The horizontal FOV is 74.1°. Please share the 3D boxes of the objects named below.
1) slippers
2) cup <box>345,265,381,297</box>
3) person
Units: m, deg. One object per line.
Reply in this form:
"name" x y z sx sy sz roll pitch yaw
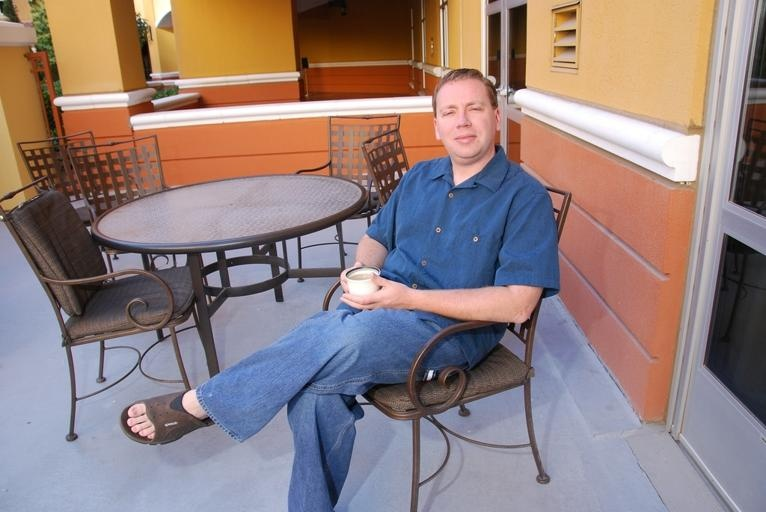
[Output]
"slippers" -0.934 0.686 2.164 0.476 0.188 0.153 -14 2 25
"cup" -0.079 0.085 1.939 0.129 0.082 0.148 -3 28 -2
"person" -0.049 0.216 2.010 1.508 1.643 0.767 -17 32 -26
